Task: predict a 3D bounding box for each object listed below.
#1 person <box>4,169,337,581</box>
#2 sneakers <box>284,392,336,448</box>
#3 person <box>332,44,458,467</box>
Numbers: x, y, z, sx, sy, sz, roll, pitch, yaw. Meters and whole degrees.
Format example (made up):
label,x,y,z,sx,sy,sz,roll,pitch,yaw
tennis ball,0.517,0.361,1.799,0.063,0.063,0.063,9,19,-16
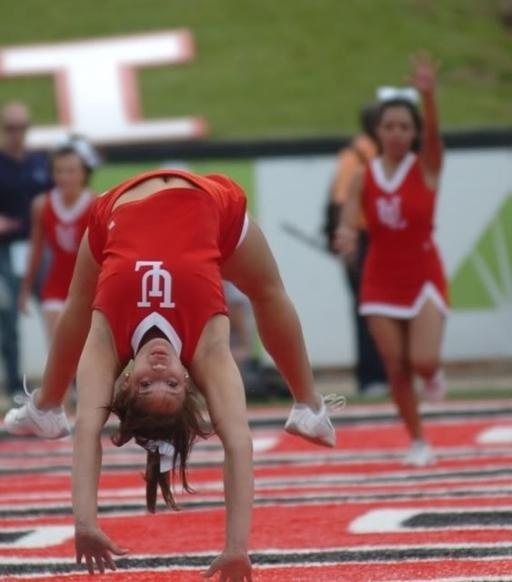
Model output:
label,x,y,z,sx,sy,sz,roll,pitch,yaw
person,-0.417,0.240,4.173,1.084,1.350,1.185,-5,4,14
sneakers,0.206,0.525,4.671,0.111,0.139,0.328,2,-21,41
person,0.684,-0.092,5.126,0.398,1.755,0.781,-7,4,-17
